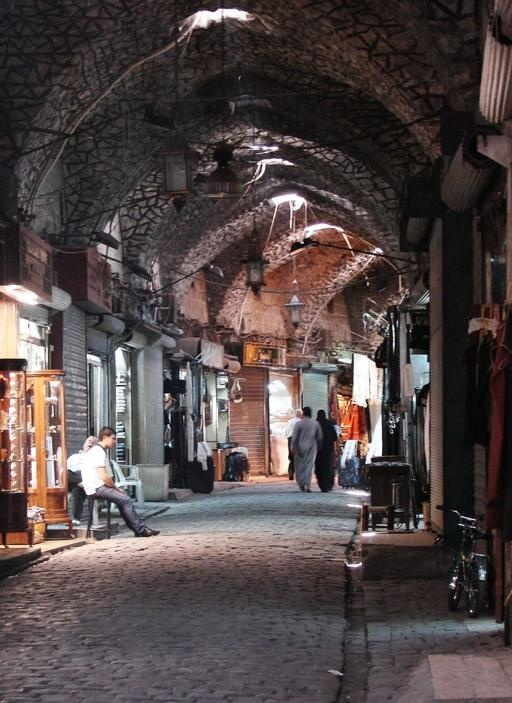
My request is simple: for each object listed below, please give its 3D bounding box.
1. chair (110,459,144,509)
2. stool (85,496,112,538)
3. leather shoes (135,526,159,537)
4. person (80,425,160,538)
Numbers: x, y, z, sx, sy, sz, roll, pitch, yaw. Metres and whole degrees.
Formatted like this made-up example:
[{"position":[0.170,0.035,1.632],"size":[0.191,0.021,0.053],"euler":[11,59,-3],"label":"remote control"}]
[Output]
[{"position":[-2.718,2.783,13.973],"size":[0.529,0.784,0.621],"euler":[3,1,-26],"label":"chair"},{"position":[-2.406,2.590,9.929],"size":[0.439,0.675,0.412],"euler":[5,-11,-11],"label":"stool"},{"position":[-1.627,2.716,9.819],"size":[0.422,0.182,0.136],"euler":[-1,2,1],"label":"leather shoes"},{"position":[-2.113,1.979,9.720],"size":[0.667,1.667,0.737],"euler":[-7,-7,38],"label":"person"}]
